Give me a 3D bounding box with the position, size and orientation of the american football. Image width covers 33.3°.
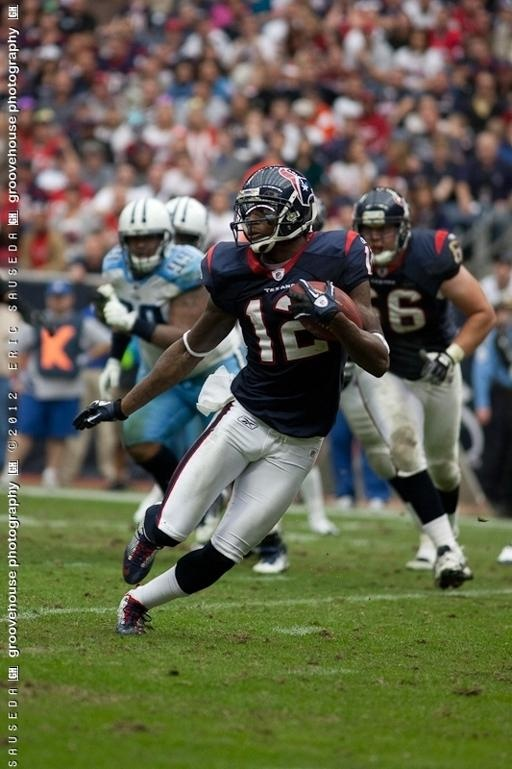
[{"bbox_3d":[0.204,-0.217,2.374,0.203,0.143,0.115,30,60,21],"label":"american football"}]

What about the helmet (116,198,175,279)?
[{"bbox_3d":[-0.462,-0.640,3.692,0.156,0.327,0.276,22,38,33],"label":"helmet"}]

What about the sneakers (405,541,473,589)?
[{"bbox_3d":[0.721,0.721,3.418,0.207,0.203,0.544,1,0,9],"label":"sneakers"}]

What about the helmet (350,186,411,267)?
[{"bbox_3d":[0.566,-0.704,3.826,0.243,0.299,0.308,-8,30,-10],"label":"helmet"}]

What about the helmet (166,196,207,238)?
[{"bbox_3d":[-0.322,-0.891,4.560,0.223,0.211,0.260,11,25,-4],"label":"helmet"}]

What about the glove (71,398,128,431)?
[{"bbox_3d":[-0.501,0.090,2.774,0.170,0.086,0.062,-12,34,-20],"label":"glove"}]

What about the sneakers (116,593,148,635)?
[{"bbox_3d":[-0.388,0.718,2.640,0.088,0.136,0.110,-2,31,0],"label":"sneakers"}]

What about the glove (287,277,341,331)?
[{"bbox_3d":[0.143,-0.227,2.315,0.143,0.056,0.140,15,32,-23],"label":"glove"}]
